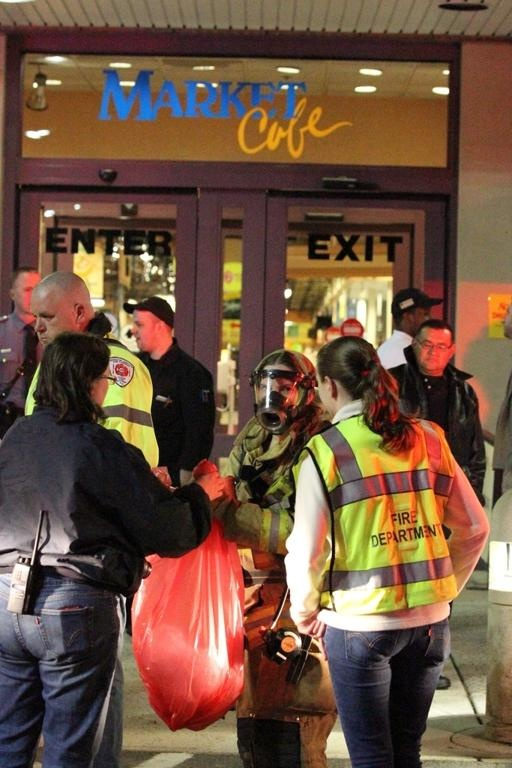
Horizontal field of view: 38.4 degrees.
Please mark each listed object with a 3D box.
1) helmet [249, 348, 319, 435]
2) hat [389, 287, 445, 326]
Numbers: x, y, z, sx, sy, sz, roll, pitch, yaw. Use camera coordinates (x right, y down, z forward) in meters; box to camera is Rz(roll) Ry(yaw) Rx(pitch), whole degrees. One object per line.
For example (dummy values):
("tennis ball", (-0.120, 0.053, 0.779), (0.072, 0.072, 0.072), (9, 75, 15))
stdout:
("helmet", (0.109, 0.035, 2.297), (0.214, 0.259, 0.255), (-1, -25, 16))
("hat", (1.011, -0.505, 4.589), (0.292, 0.154, 0.190), (-25, 8, 6))
